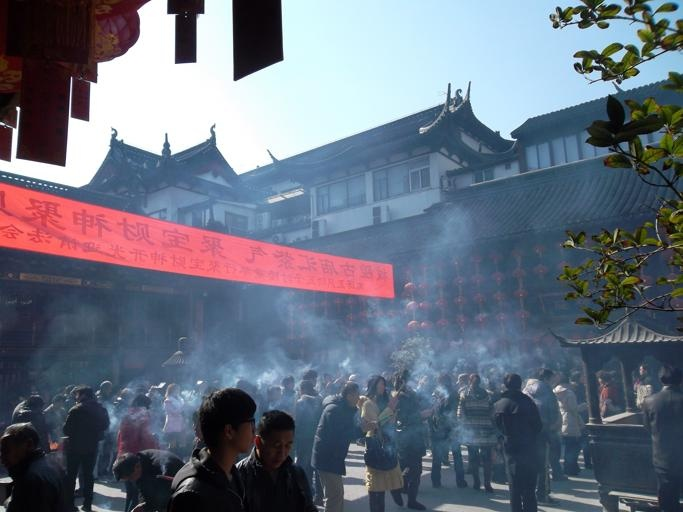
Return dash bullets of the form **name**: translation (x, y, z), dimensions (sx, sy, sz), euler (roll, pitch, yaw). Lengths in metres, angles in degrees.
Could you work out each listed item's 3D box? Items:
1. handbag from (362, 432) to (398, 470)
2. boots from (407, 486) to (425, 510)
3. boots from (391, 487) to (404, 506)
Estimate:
- **handbag**: translation (0.535, 2.624, 8.361), dimensions (0.509, 0.479, 0.262), euler (13, -21, -35)
- **boots**: translation (1.083, 3.491, 8.949), dimensions (0.256, 0.295, 0.226), euler (-1, -17, 5)
- **boots**: translation (0.827, 3.521, 9.096), dimensions (0.171, 0.251, 0.409), euler (-1, -17, 6)
